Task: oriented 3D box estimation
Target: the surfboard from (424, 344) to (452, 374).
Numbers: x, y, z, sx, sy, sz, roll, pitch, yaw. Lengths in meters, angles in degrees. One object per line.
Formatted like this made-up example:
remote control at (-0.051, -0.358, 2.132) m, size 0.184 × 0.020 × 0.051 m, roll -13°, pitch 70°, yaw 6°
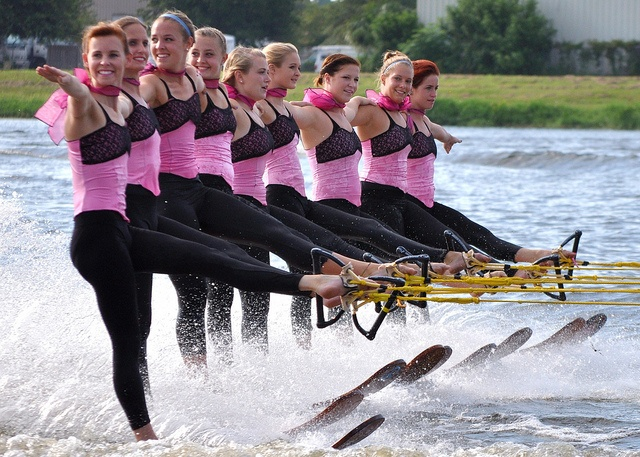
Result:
surfboard at (1.206, 1.352, 10.883) m, size 0.081 × 0.303 × 0.308 m, roll 52°, pitch -2°, yaw 22°
